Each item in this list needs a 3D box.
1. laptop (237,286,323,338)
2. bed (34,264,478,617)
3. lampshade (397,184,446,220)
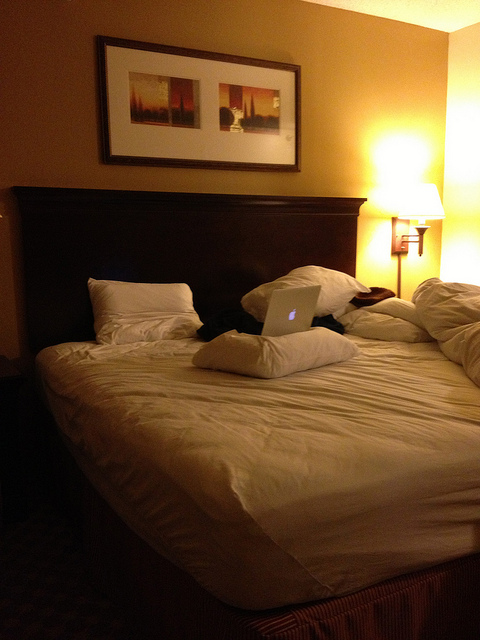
[{"bbox_3d":[0.145,-0.063,2.140,0.233,0.153,0.232,-5,8,-40],"label":"laptop"},{"bbox_3d":[0.010,0.254,1.533,1.160,0.293,1.140,-5,11,-32],"label":"bed"},{"bbox_3d":[1.229,-0.797,3.532,0.253,0.241,0.254,-2,12,-1],"label":"lampshade"}]
